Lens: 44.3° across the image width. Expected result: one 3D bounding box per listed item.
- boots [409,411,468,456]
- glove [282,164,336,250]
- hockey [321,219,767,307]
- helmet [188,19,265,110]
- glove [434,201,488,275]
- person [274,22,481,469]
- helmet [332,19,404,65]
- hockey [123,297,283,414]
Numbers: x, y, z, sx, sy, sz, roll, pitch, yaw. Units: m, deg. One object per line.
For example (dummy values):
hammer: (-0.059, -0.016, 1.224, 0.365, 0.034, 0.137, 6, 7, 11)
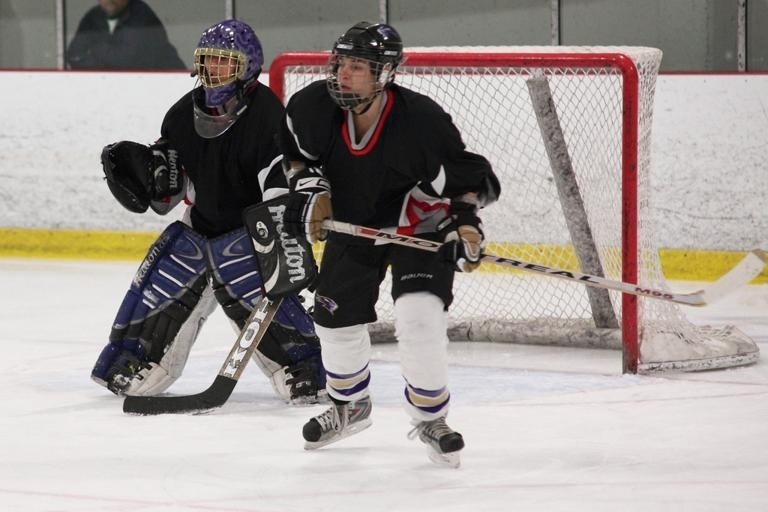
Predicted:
boots: (0.218, 0.728, 3.792, 0.093, 0.108, 0.271, -11, 2, -25)
glove: (-0.324, -0.213, 3.793, 0.284, 0.263, 0.123, 7, 9, 35)
hockey: (0.957, 0.052, 5.010, 2.009, 0.260, 0.153, 11, -28, 0)
helmet: (-0.685, -0.875, 4.384, 0.359, 0.435, 0.415, 5, 6, 45)
glove: (0.307, -0.086, 3.792, 0.184, 0.284, 0.198, 1, 14, 3)
person: (-0.017, -0.055, 3.848, 0.846, 1.730, 0.413, 5, 15, 18)
helmet: (-0.063, -0.851, 3.757, 0.227, 0.156, 0.178, -14, 27, -34)
hockey: (-0.825, 0.444, 4.255, 0.723, 0.545, 0.132, 0, 14, -2)
